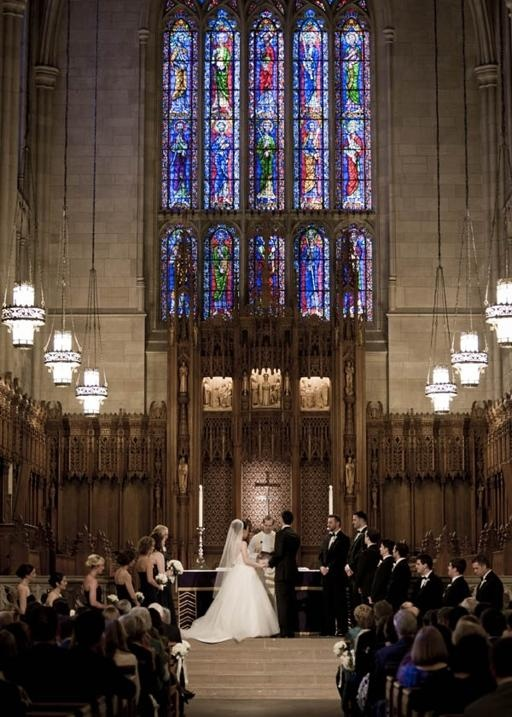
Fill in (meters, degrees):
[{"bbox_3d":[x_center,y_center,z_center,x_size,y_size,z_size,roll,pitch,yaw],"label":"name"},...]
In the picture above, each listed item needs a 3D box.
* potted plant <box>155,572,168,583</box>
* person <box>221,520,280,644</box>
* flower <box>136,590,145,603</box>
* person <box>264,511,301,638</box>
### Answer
[{"bbox_3d":[-1.144,2.654,18.808,0.100,0.141,0.109,5,1,15],"label":"potted plant"},{"bbox_3d":[-0.213,3.112,22.047,0.852,1.773,1.316,8,-16,-23],"label":"person"},{"bbox_3d":[-1.391,2.862,18.682,0.107,0.156,0.070,2,-2,-43],"label":"flower"},{"bbox_3d":[0.395,3.098,21.727,0.421,1.543,0.552,0,-8,0],"label":"person"}]
